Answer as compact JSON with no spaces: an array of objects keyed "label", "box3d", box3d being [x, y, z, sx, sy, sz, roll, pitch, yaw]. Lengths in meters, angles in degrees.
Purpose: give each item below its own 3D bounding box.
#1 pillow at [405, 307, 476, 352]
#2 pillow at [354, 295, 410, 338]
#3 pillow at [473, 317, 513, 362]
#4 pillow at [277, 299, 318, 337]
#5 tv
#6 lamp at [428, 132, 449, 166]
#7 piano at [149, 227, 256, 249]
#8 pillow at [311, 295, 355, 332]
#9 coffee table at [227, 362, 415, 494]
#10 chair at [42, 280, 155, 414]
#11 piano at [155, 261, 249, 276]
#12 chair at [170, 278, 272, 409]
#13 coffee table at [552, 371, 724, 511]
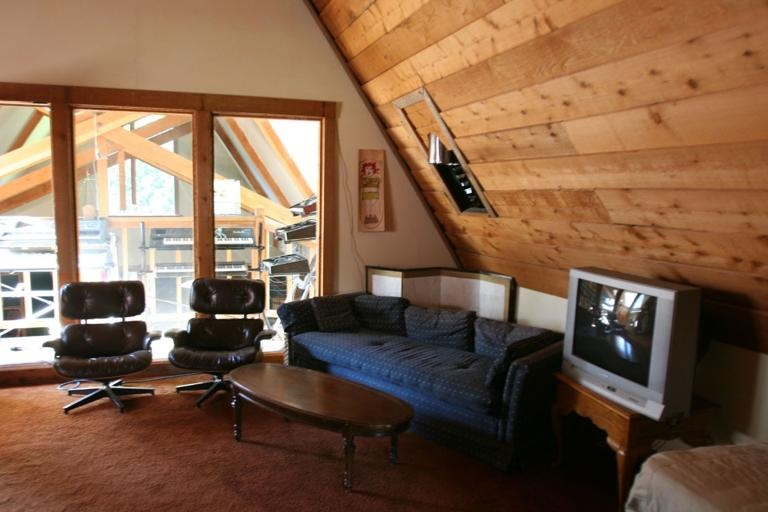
[{"label":"pillow","box3d":[0.567,0.717,5.513,0.772,0.370,0.244,4,1,27]},{"label":"pillow","box3d":[-0.019,0.595,5.860,0.479,0.420,0.181,3,15,19]},{"label":"pillow","box3d":[1.039,0.785,5.101,0.150,0.311,0.333,11,-2,-38]},{"label":"pillow","box3d":[-0.895,0.639,5.556,0.414,0.343,0.172,-7,-3,-41]},{"label":"tv","box3d":[1.887,0.622,4.093,0.565,0.925,1.025,-3,8,-20]},{"label":"lamp","box3d":[0.510,-0.951,4.854,0.183,0.274,0.314,-2,-4,33]},{"label":"piano","box3d":[-1.837,-0.182,5.973,0.942,0.237,0.204,-2,-11,-8]},{"label":"pillow","box3d":[-0.549,0.637,5.714,0.425,0.375,0.132,-7,-23,-39]},{"label":"coffee table","box3d":[-0.505,1.341,4.316,1.476,0.719,0.736,-2,3,40]},{"label":"chair","box3d":[-2.691,0.819,5.111,1.035,0.977,1.023,7,10,21]},{"label":"piano","box3d":[-1.950,0.144,5.795,0.964,0.152,0.099,-4,2,-11]},{"label":"chair","box3d":[-1.620,0.827,5.315,1.045,1.034,1.042,-3,8,-28]},{"label":"coffee table","box3d":[1.849,1.159,4.173,0.939,0.824,1.198,-2,9,-22]}]
